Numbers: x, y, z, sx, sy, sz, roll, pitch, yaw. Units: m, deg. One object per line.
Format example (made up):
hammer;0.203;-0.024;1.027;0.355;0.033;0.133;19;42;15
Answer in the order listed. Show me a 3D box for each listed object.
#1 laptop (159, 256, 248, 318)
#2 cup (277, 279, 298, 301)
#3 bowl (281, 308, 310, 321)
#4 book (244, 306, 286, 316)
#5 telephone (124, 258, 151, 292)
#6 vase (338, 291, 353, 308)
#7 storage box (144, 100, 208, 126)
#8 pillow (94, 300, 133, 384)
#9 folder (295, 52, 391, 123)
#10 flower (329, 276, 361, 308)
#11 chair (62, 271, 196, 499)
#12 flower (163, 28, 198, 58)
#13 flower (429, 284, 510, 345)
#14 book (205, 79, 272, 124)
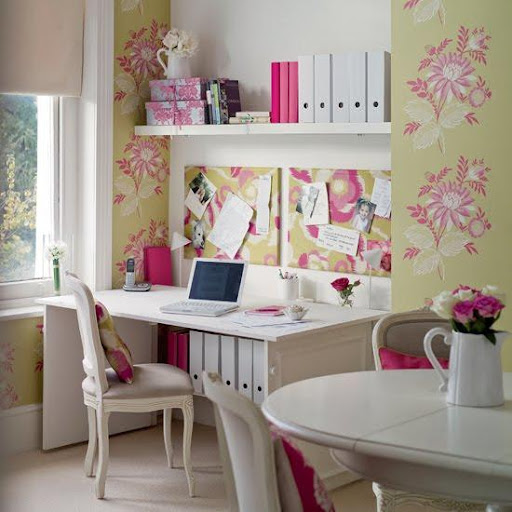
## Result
laptop;-0.285;0.158;2.642;0.392;0.294;0.416;2;0;16
cup;0.194;0.204;2.929;0.117;0.145;0.119;1;2;0
bowl;0.204;0.297;2.478;0.127;0.056;0.168;-1;2;1
book;0.047;0.298;2.612;0.209;0.026;0.207;-1;2;1
telephone;-0.809;0.125;3.223;0.202;0.204;0.193;-2;6;-6
vase;0.520;0.257;2.807;0.069;0.080;0.077;0;1;19
storage box;-0.533;-0.944;3.195;0.489;0.202;0.052;1;3;30
pillow;-0.768;0.370;2.491;0.138;0.117;0.443;15;18;-39
folder;0.473;-0.886;2.528;0.398;0.320;0.222;2;3;39
flower;0.508;0.201;2.762;0.143;0.180;0.116;3;6;-2
chair;-0.663;0.676;2.615;0.611;1.156;0.553;0;1;-24
flower;-0.489;-1.384;3.140;0.171;0.097;0.178;27;13;21
flower;0.566;0.116;1.284;0.150;0.168;0.150;-16;30;4
book;-0.115;-0.952;3.038;0.383;0.353;0.400;1;20;-3
